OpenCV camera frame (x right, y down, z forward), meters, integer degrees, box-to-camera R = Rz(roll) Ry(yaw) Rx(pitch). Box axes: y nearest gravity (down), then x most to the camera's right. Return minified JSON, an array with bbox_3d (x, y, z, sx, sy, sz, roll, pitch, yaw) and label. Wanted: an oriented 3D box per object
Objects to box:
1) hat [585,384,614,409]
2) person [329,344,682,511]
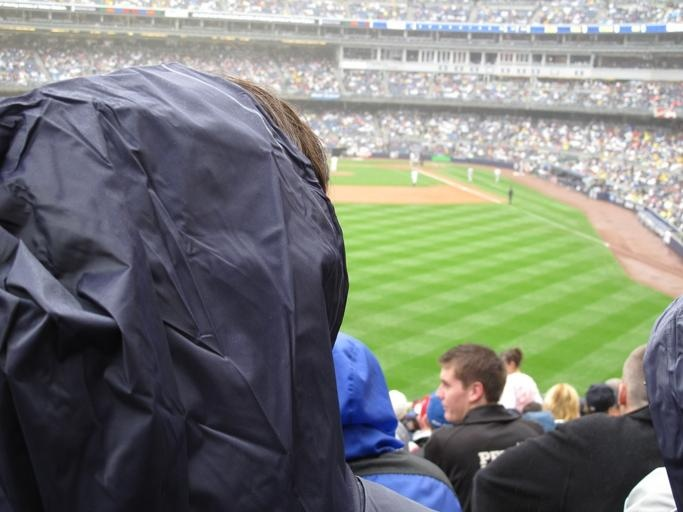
[{"bbox_3d":[1.741,0.933,6.170,0.133,0.182,0.176,2,8,24],"label":"hat"},{"bbox_3d":[0.801,0.843,4.527,0.931,0.837,1.233,5,8,-40],"label":"person"}]
